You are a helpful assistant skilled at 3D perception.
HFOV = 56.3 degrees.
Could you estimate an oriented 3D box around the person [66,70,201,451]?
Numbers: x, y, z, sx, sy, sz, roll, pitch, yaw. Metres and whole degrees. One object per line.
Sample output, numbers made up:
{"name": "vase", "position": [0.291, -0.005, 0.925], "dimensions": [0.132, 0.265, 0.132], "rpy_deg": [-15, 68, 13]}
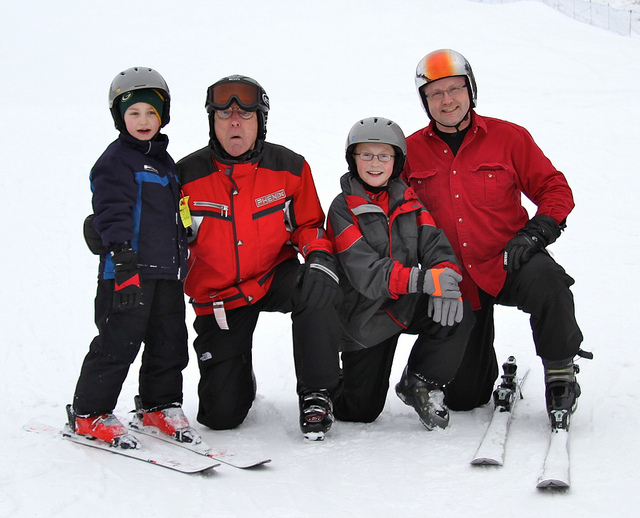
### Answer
{"name": "person", "position": [-1.090, -0.038, 3.464], "dimensions": [0.799, 2.196, 0.610], "rpy_deg": [-4, 5, -25]}

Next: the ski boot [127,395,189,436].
{"name": "ski boot", "position": [-0.952, 0.968, 3.614], "dimensions": [0.428, 0.191, 0.160], "rpy_deg": [12, -2, 19]}

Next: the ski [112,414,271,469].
{"name": "ski", "position": [-0.747, 1.045, 3.404], "dimensions": [0.823, 0.044, 0.089], "rpy_deg": [13, 14, 42]}

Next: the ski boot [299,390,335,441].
{"name": "ski boot", "position": [-0.028, 0.933, 3.612], "dimensions": [0.193, 0.277, 0.191], "rpy_deg": [-2, 5, -2]}

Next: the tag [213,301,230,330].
{"name": "tag", "position": [-0.640, 0.363, 3.871], "dimensions": [0.085, 0.198, 0.120], "rpy_deg": [-2, 5, 6]}

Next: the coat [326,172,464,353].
{"name": "coat", "position": [0.394, -0.151, 4.001], "dimensions": [0.762, 1.098, 1.018], "rpy_deg": [-25, 22, -16]}

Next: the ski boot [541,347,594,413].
{"name": "ski boot", "position": [1.398, 0.687, 3.524], "dimensions": [0.278, 0.391, 0.381], "rpy_deg": [-1, 27, 20]}

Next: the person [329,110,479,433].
{"name": "person", "position": [0.497, 0.084, 3.811], "dimensions": [0.926, 2.009, 0.665], "rpy_deg": [-1, 5, 17]}

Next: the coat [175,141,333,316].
{"name": "coat", "position": [-0.486, -0.202, 3.868], "dimensions": [1.064, 1.150, 0.680], "rpy_deg": [-5, 20, -16]}

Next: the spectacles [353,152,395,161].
{"name": "spectacles", "position": [0.332, -0.660, 3.817], "dimensions": [0.254, 0.065, 0.107], "rpy_deg": [-2, 5, 9]}

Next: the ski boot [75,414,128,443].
{"name": "ski boot", "position": [-1.211, 0.919, 3.362], "dimensions": [0.312, 0.152, 0.124], "rpy_deg": [2, 29, 15]}

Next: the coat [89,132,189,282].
{"name": "coat", "position": [-1.040, -0.308, 3.496], "dimensions": [0.561, 0.898, 0.373], "rpy_deg": [-6, 6, -41]}

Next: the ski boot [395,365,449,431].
{"name": "ski boot", "position": [0.645, 0.821, 3.728], "dimensions": [0.144, 0.282, 0.438], "rpy_deg": [2, 30, -33]}

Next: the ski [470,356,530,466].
{"name": "ski", "position": [1.095, 0.837, 3.667], "dimensions": [0.201, 0.202, 1.419], "rpy_deg": [-1, 6, 15]}

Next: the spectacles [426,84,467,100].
{"name": "spectacles", "position": [0.836, -1.106, 3.943], "dimensions": [0.245, 0.087, 0.059], "rpy_deg": [-2, 5, 8]}
